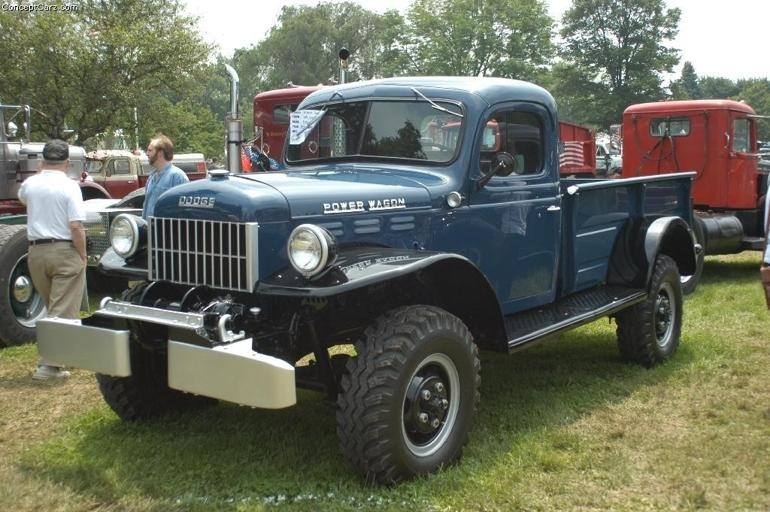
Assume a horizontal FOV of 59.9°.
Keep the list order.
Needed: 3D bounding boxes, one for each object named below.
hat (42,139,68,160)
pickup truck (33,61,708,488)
[{"bbox_3d":[-3.403,-1.092,6.954,0.227,0.182,0.232,6,7,9],"label":"hat"},{"bbox_3d":[0.278,-0.001,6.648,3.061,2.716,5.989,-1,1,44],"label":"pickup truck"}]
